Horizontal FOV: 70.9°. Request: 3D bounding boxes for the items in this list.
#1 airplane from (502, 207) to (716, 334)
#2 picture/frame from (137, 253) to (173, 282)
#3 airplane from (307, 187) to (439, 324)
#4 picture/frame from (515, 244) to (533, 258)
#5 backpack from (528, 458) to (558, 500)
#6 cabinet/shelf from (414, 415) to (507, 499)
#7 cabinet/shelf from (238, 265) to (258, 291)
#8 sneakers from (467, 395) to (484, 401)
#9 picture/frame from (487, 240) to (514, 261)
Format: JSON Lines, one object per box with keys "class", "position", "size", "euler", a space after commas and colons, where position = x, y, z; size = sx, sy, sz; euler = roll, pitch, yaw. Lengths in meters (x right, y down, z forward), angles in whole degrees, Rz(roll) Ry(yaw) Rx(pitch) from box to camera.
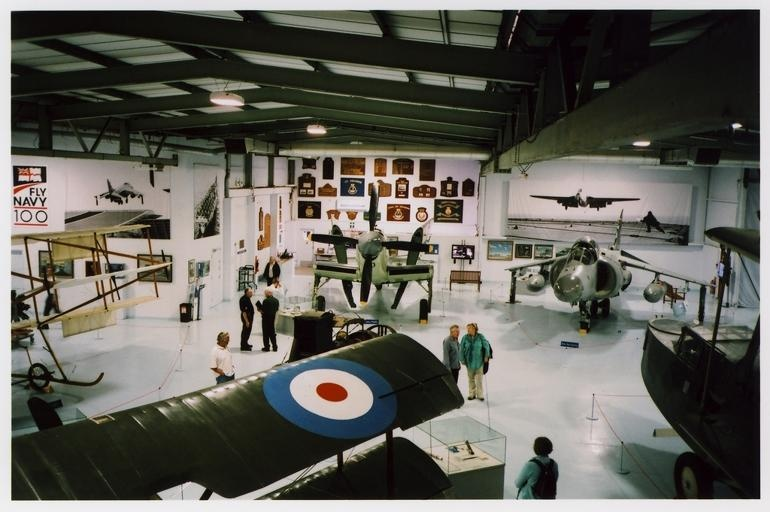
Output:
{"class": "airplane", "position": [5.259, 0.508, 13.820], "size": [3.756, 1.575, 4.277], "euler": [5, 3, 23]}
{"class": "picture/frame", "position": [-5.431, 0.242, 12.699], "size": [0.754, 0.608, 0.072], "euler": [3, 10, 2]}
{"class": "airplane", "position": [-0.576, 0.218, 14.872], "size": [3.579, 2.762, 4.286], "euler": [3, -3, -17]}
{"class": "picture/frame", "position": [4.825, -0.210, 18.765], "size": [0.521, 0.424, 0.036], "euler": [1, 5, 11]}
{"class": "backpack", "position": [1.911, 2.612, 6.368], "size": [0.426, 0.457, 0.227], "euler": [-1, 8, -29]}
{"class": "cabinet/shelf", "position": [1.068, 2.670, 7.354], "size": [0.969, 0.906, 0.955], "euler": [-4, 10, -29]}
{"class": "cabinet/shelf", "position": [-4.378, 0.690, 17.102], "size": [0.437, 0.751, 0.805], "euler": [3, 3, 16]}
{"class": "sneakers", "position": [1.592, 2.526, 9.582], "size": [0.317, 0.122, 0.097], "euler": [-7, 12, 26]}
{"class": "picture/frame", "position": [4.053, -0.244, 18.916], "size": [0.772, 0.603, 0.053], "euler": [1, 8, 12]}
